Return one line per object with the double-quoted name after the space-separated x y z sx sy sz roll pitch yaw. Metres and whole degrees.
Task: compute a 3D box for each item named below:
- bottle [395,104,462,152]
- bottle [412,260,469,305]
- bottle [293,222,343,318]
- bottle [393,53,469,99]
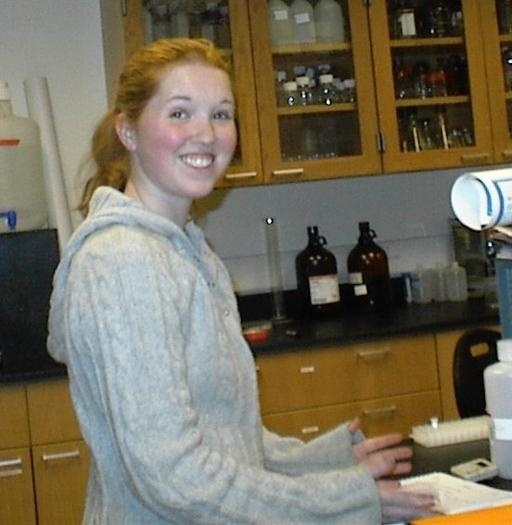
0.760 -0.598 2.724 0.234 0.235 0.058 -3 -3 -13 "bottle"
0.872 0.105 2.846 0.184 0.164 0.057 -2 0 27 "bottle"
0.281 0.045 2.785 0.176 0.429 0.181 -6 11 1 "bottle"
0.787 -0.851 2.749 0.182 0.128 0.098 -6 26 0 "bottle"
